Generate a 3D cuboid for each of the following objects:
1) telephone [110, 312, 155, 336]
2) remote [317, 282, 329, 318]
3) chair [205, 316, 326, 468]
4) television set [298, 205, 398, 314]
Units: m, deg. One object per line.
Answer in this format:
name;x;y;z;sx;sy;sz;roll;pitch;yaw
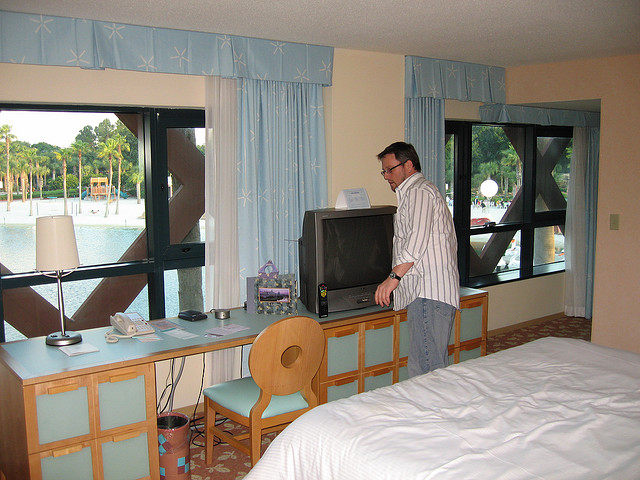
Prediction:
telephone;-1.273;0.558;3.312;0.229;0.108;0.318;-11;18;-40
remote;0.021;0.438;3.603;0.084;0.238;0.137;0;13;-1
chair;-0.381;1.005;3.275;0.600;1.137;0.598;1;3;-45
television set;0.256;0.136;3.796;0.781;0.753;0.284;-7;15;-29
